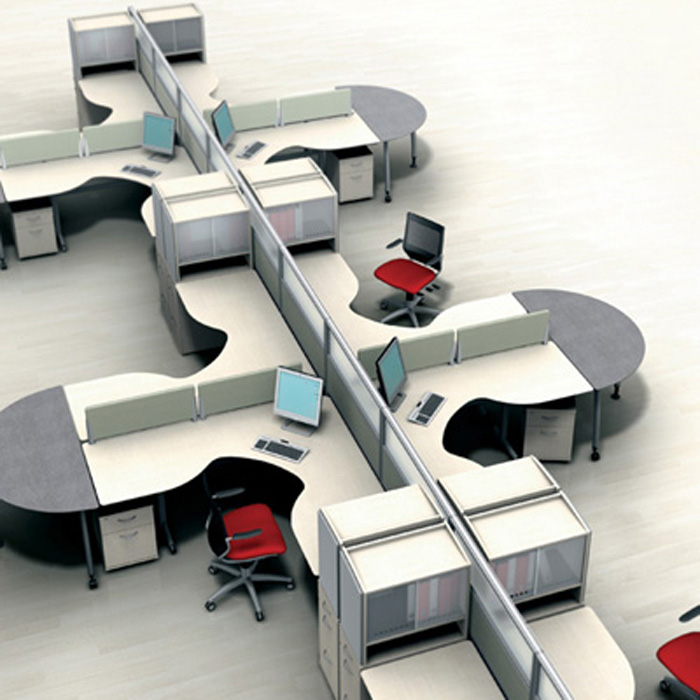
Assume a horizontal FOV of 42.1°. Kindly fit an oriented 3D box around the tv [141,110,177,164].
[{"bbox_3d":[-1.773,-2.001,8.437,0.283,0.404,0.117,5,34,-12],"label":"tv"}]

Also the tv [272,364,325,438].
[{"bbox_3d":[-0.338,0.340,5.861,0.295,0.379,0.117,12,19,24],"label":"tv"}]

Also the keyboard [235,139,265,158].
[{"bbox_3d":[-0.931,-1.905,8.652,0.187,0.039,0.373,10,36,17],"label":"keyboard"}]

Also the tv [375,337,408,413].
[{"bbox_3d":[0.274,0.169,5.986,0.084,0.328,0.349,0,45,14],"label":"tv"}]

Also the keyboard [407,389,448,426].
[{"bbox_3d":[0.516,0.384,6.082,0.133,0.290,0.259,21,34,20],"label":"keyboard"}]

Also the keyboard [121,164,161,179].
[{"bbox_3d":[-1.897,-1.619,8.235,0.365,0.035,0.205,13,37,21],"label":"keyboard"}]
